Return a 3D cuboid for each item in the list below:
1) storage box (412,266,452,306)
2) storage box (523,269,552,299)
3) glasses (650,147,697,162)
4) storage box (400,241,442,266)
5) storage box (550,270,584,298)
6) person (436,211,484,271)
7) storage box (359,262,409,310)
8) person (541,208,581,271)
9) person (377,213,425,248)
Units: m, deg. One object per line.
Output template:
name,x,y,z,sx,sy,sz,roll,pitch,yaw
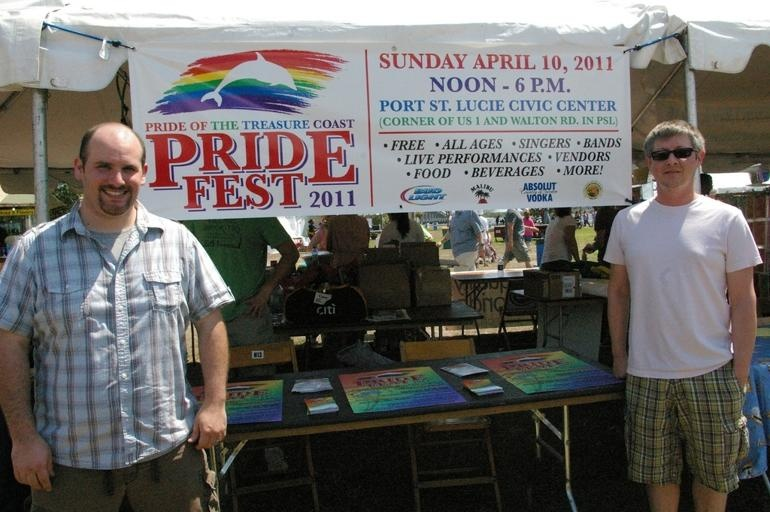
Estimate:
storage box,0.498,0.279,7.505,0.485,0.413,0.267,-1,10,-37
storage box,1.617,0.307,7.457,0.262,0.266,0.422,-2,6,-11
glasses,1.859,-0.659,4.501,0.257,0.087,0.059,3,10,18
storage box,0.395,-0.024,7.790,0.475,0.287,0.260,0,-7,-6
storage box,1.909,0.290,7.334,0.301,0.189,0.284,-3,6,-19
person,1.214,-0.222,10.359,0.520,0.983,1.035,1,10,7
storage box,0.064,0.293,7.489,0.575,0.491,0.408,-2,3,16
person,2.309,-0.292,9.105,0.437,0.720,0.480,2,10,13
person,0.237,-0.382,9.697,0.493,0.681,0.547,1,11,0
